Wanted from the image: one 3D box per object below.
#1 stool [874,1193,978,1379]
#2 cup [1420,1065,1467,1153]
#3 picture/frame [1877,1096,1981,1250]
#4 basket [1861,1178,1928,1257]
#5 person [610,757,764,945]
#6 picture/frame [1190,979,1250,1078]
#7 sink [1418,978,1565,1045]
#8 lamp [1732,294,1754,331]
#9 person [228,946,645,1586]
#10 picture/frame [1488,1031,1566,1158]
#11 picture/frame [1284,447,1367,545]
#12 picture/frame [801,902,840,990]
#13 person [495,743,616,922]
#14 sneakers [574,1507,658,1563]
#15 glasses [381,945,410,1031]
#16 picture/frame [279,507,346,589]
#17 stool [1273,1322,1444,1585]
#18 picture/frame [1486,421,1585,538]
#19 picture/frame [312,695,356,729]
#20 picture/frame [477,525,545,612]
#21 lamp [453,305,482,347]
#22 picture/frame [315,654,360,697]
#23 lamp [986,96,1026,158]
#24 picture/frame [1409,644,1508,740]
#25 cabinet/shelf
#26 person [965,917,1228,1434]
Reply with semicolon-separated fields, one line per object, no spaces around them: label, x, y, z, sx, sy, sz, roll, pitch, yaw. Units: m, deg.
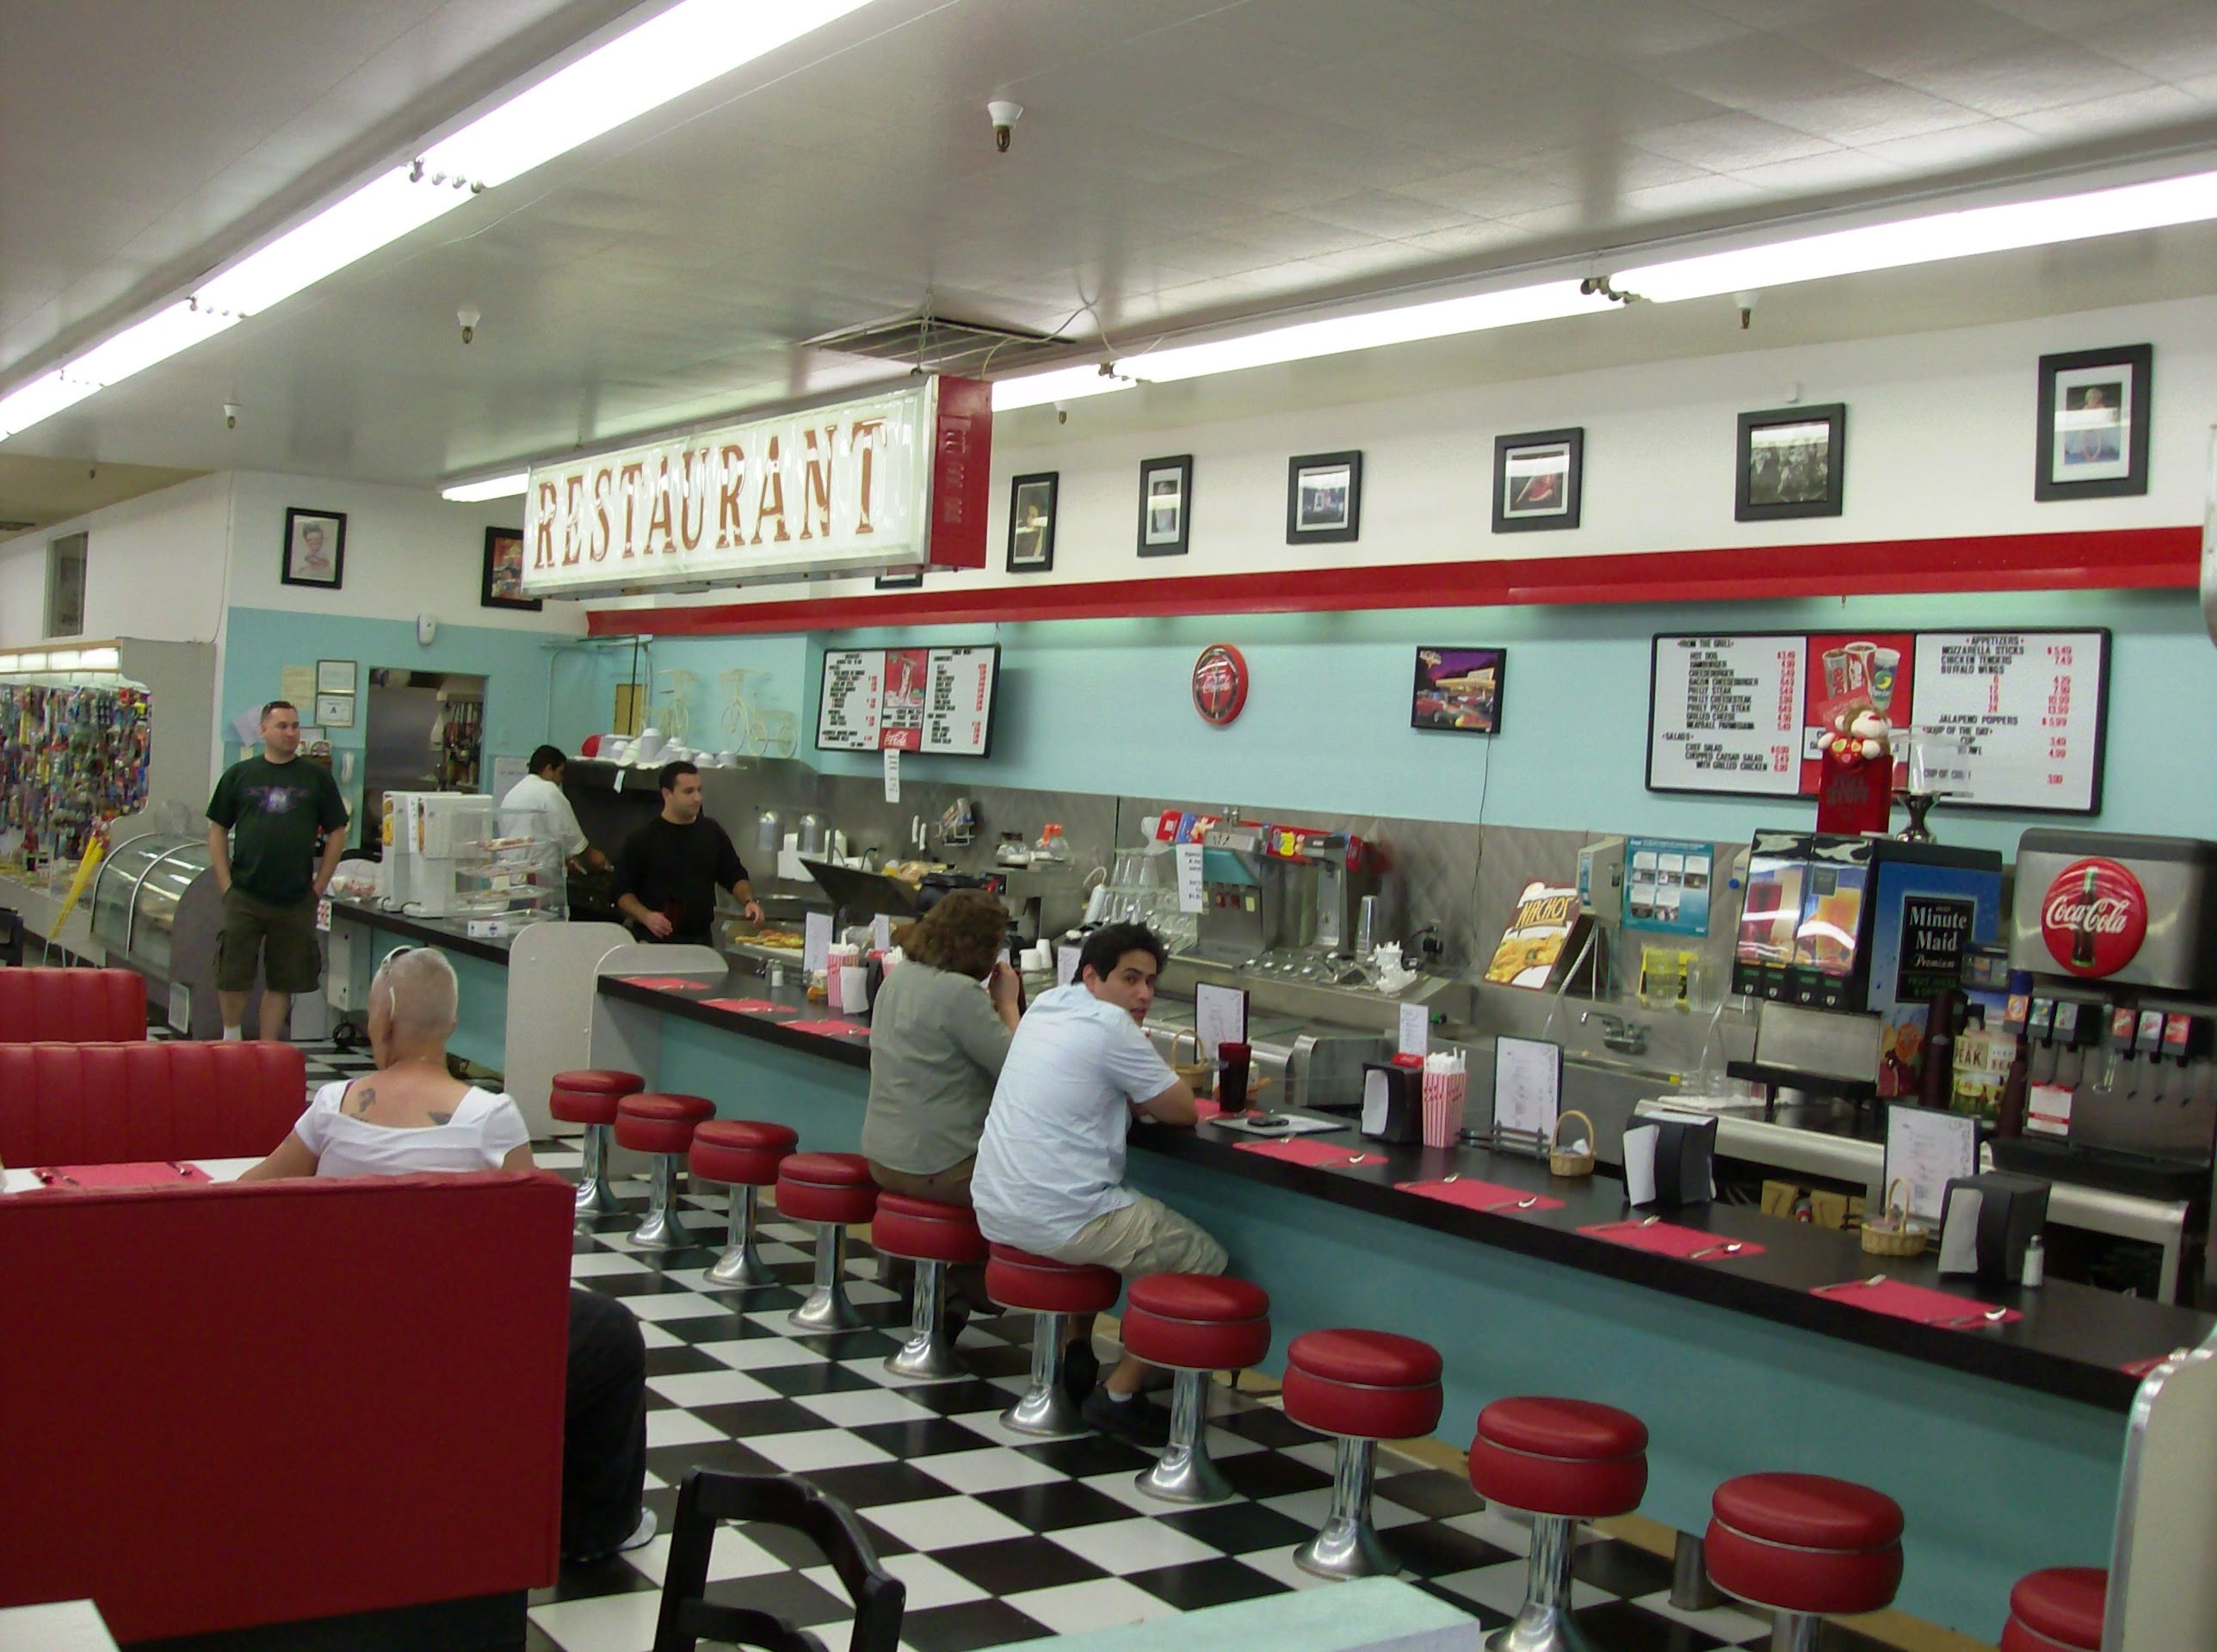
stool;-0.673;1.623;5.880;0.383;0.659;0.743;3;3;-8
cup;1.075;0.900;5.155;0.121;0.282;0.123;3;3;0
picture/frame;2.165;0.915;4.272;0.271;0.311;0.325;0;0;-28
basket;2.072;1.062;4.250;0.119;0.215;0.230;-1;-1;17
person;-2.387;0.474;9.257;0.855;1.529;0.632;2;14;-19
picture/frame;0.417;0.773;5.986;0.042;0.363;0.321;-4;10;-35
sink;1.718;0.862;7.278;0.638;0.240;0.338;6;4;41
lamp;2.529;-2.014;6.387;0.080;0.125;0.080;-2;2;13
person;-1.822;1.244;4.489;1.216;1.656;1.103;8;-10;-44
picture/frame;1.323;0.859;5.137;0.122;0.354;0.301;1;3;-34
picture/frame;1.168;-1.726;8.524;0.045;0.561;0.564;4;-1;-41
picture/frame;-1.405;0.614;7.877;0.037;0.489;0.453;2;-1;-26
person;-3.325;0.075;9.867;0.702;1.045;0.633;3;3;-1
sneakers;-1.330;1.952;4.444;0.071;0.074;0.180;10;13;24
glasses;-1.912;0.414;4.295;0.085;0.173;0.321;2;3;-27
picture/frame;-6.345;-2.193;12.796;0.642;0.850;0.063;-4;9;-38
stool;0.700;1.745;4.473;0.409;0.665;0.404;4;3;13
picture/frame;2.061;-1.631;7.684;0.038;0.571;0.574;2;3;-43
picture/frame;-6.270;-0.901;13.014;0.274;0.189;0.037;-3;4;-42
picture/frame;-5.093;-2.168;13.772;0.474;0.713;0.138;2;3;-23
lamp;-3.044;-2.365;7.668;0.113;0.135;0.141;0;-28;-13
picture/frame;-6.199;-1.188;12.972;0.289;0.274;0.175;3;-4;-28
lamp;-0.312;-2.166;4.987;0.096;0.103;0.100;-3;-7;-11
picture/frame;1.747;-0.641;7.928;0.067;0.408;0.483;7;-4;-43
cabinet/shelf;-5.444;0.688;9.622;0.495;1.000;1.373;3;0;-33
person;-0.045;1.161;5.291;0.830;1.605;0.488;3;3;3
